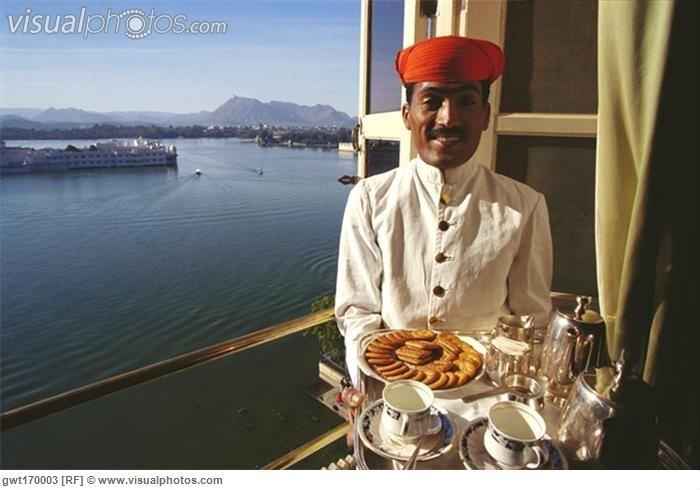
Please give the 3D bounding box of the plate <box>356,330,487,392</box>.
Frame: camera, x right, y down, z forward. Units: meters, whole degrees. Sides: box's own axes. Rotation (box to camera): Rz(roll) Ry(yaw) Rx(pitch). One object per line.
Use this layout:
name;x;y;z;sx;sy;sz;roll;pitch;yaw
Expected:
plate;0.257;0.349;1.546;0.336;0.159;0.353;3;11;26
